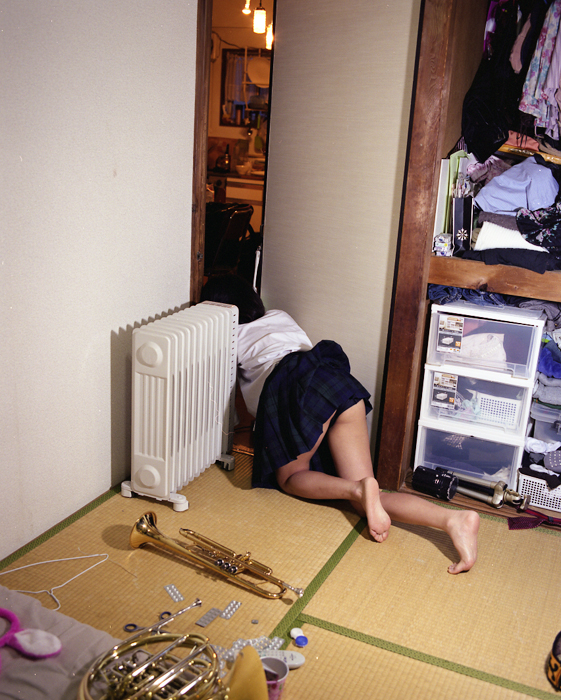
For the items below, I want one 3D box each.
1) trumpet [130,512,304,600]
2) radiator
[{"bbox_3d":[-0.184,0.605,1.760,0.567,0.125,0.203,8,11,19],"label":"trumpet"},{"bbox_3d":[-0.364,0.197,2.178,0.225,0.707,0.544,8,11,18],"label":"radiator"}]
